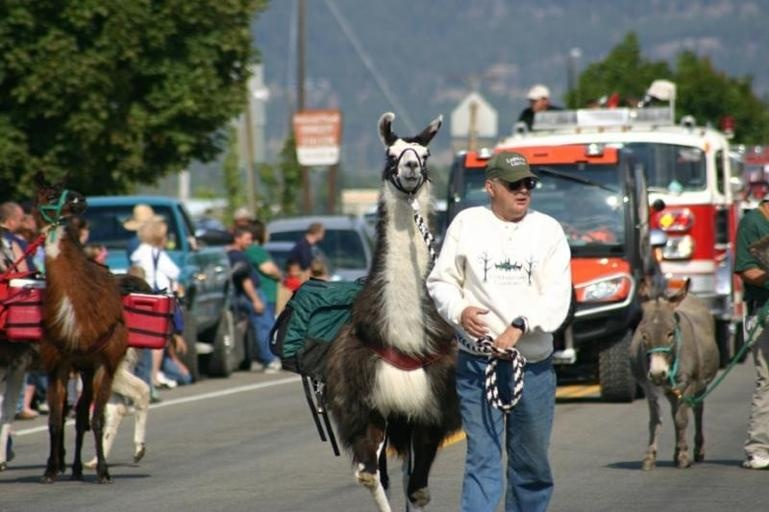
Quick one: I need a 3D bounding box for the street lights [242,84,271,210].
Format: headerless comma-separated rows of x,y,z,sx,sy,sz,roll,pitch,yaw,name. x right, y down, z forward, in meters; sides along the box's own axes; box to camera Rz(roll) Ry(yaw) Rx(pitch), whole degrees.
-2.606,-2.196,37.763,0.139,3.086,0.126,-6,-5,12,street lights

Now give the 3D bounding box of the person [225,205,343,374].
-2.115,0.365,32.016,1.280,3.234,1.197,0,0,-31,person

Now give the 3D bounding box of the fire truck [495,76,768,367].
4.855,-0.890,30.396,3.290,3.210,8.552,0,1,8,fire truck

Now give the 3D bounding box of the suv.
2.671,-0.081,27.728,3.110,2.388,4.191,0,-2,11,suv

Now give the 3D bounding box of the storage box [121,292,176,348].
-3.092,0.818,24.101,0.736,0.746,0.347,-5,9,-20,storage box

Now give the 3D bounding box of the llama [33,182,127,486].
-4.018,0.822,23.980,1.324,2.916,4.020,-2,3,-7,llama

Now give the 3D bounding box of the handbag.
-1.094,0.765,22.525,1.327,1.242,1.121,6,8,-44,handbag

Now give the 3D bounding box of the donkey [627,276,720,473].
3.861,1.605,24.470,1.203,2.560,3.820,-3,-3,16,donkey

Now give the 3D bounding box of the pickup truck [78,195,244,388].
-5.276,0.528,29.987,2.507,3.026,5.325,1,-1,-1,pickup truck
